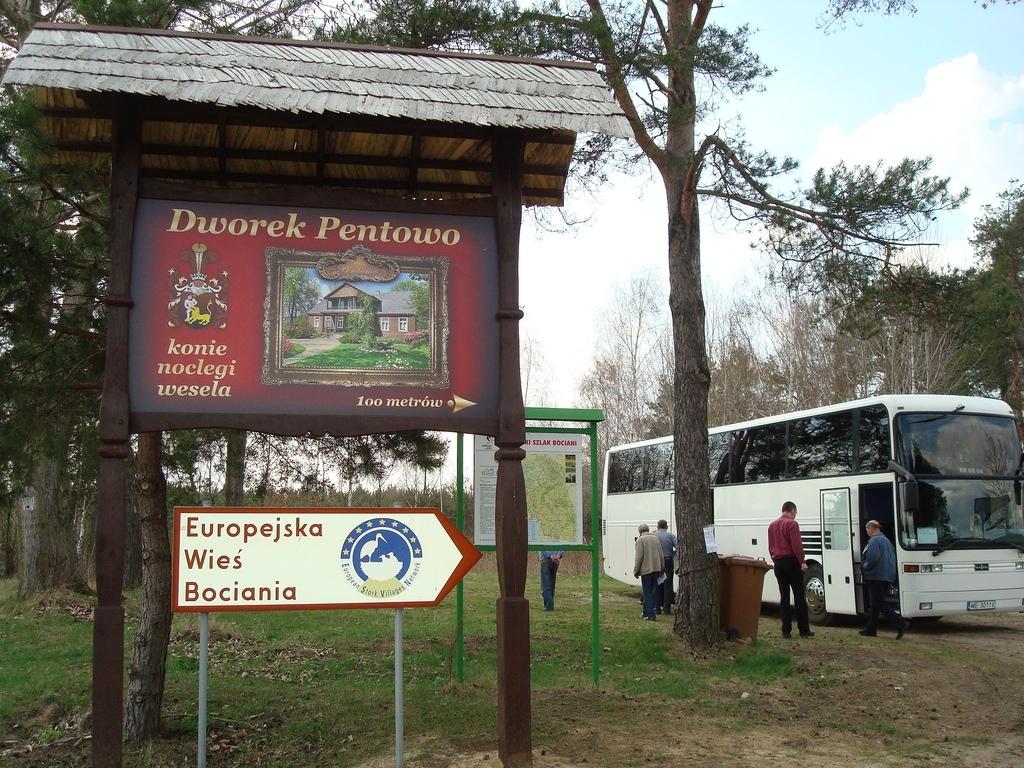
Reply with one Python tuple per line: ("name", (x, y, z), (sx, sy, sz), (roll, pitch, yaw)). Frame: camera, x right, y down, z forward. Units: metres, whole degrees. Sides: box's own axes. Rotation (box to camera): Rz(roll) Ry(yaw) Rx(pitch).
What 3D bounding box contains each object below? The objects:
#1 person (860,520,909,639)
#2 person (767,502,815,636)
("person", (6.475, 3.427, 19.563), (0.690, 1.902, 1.023), (1, 0, 18))
("person", (4.897, 3.263, 19.648), (0.737, 2.055, 1.190), (1, 0, 15))
